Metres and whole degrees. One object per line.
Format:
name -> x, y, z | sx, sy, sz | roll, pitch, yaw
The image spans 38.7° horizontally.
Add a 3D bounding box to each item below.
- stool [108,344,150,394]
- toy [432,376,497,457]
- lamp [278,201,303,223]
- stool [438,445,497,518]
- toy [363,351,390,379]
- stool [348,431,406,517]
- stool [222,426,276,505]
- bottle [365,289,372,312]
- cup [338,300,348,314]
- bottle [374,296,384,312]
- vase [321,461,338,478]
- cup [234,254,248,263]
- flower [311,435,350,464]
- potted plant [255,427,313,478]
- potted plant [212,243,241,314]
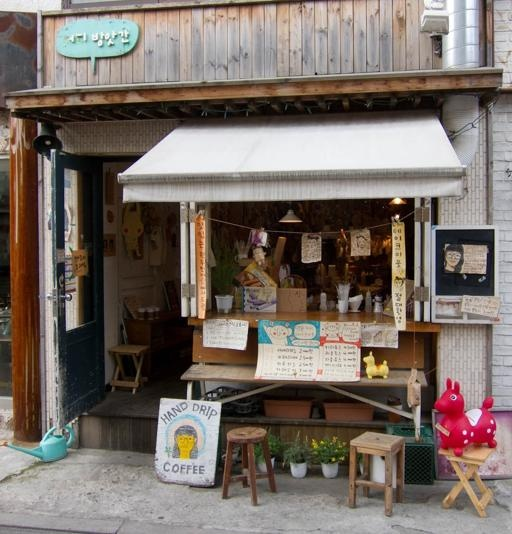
stool -> -1.577, 1.245, 9.007 | 0.426, 0.577, 0.459 | 0, -4, 8
toy -> 1.806, 1.282, 6.297 | 0.568, 0.643, 0.220 | 2, -1, -20
lamp -> 0.423, -0.620, 8.742 | 0.254, 0.319, 0.274 | 0, 2, 3
stool -> 1.898, 1.770, 6.416 | 0.482, 0.667, 0.519 | 1, 3, 23
toy -> 1.169, 0.968, 7.058 | 0.251, 0.283, 0.184 | 2, -3, 1
stool -> 1.064, 1.783, 6.423 | 0.463, 0.596, 0.590 | 2, 0, 17
stool -> -0.065, 1.765, 6.532 | 0.453, 0.572, 0.461 | -4, 4, -27
bottle -> 1.234, 0.391, 7.933 | 0.067, 0.218, 0.187 | 1, -1, 9
cup -> 0.953, 0.437, 7.882 | 0.110, 0.144, 0.119 | 0, 0, 0
bottle -> 1.330, 0.412, 7.904 | 0.099, 0.177, 0.261 | 2, 0, 9
vase -> 0.720, 1.939, 7.038 | 0.148, 0.121, 0.138 | 0, -8, -1
cup -> -0.156, -0.085, 8.384 | 0.118, 0.093, 0.080 | 1, 1, 5
flower -> 0.744, 1.707, 7.069 | 0.269, 0.175, 0.289 | 0, 3, -19
potted plant -> 0.323, 1.820, 7.092 | 0.399, 0.313, 0.379 | 1, 3, 22
potted plant -> -0.328, 0.100, 8.372 | 0.367, 0.699, 0.224 | 2, -1, -13
